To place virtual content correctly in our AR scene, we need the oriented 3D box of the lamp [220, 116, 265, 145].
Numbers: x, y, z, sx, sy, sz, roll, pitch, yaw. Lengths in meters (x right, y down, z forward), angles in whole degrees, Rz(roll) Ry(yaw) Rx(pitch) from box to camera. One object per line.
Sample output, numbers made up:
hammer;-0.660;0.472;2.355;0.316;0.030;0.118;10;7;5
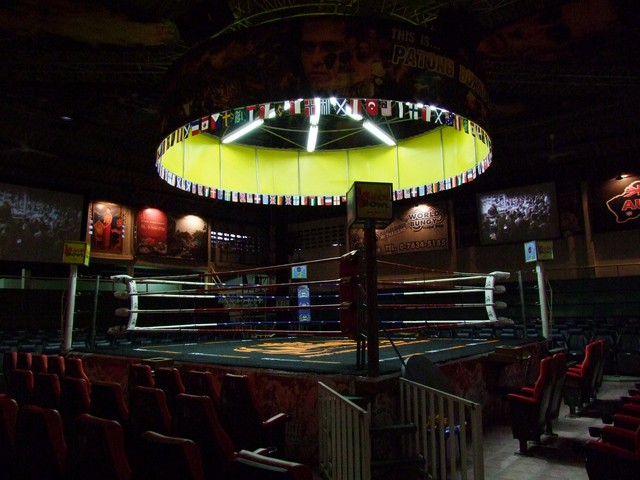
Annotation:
lamp;-0.987;-1.526;7.106;0.435;0.124;0.433;-1;-7;-44
